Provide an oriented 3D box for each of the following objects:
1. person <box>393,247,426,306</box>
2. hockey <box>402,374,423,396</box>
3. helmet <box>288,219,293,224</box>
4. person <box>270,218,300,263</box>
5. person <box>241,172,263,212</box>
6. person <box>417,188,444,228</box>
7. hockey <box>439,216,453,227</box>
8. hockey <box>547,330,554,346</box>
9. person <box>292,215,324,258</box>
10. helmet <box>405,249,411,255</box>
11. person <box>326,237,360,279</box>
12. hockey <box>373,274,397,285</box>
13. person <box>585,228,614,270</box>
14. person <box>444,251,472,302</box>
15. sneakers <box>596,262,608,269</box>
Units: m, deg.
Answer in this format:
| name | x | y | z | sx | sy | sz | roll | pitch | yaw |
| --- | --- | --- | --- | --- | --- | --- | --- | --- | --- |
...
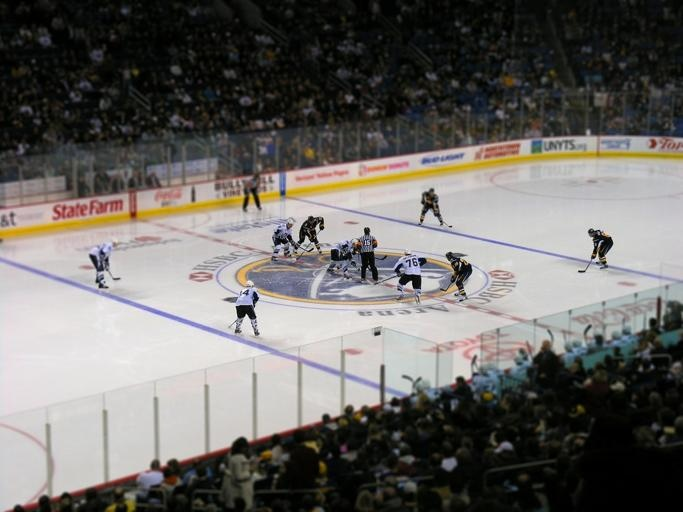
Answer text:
| name | x | y | z | sx | sy | sz | roll | pitch | yaw |
| --- | --- | --- | --- | --- | --- | --- | --- | --- | --- |
| person | 1.775 | 0.520 | 25.006 | 0.751 | 1.288 | 1.204 | -2 | 5 | 3 |
| hockey | 1.334 | 2.379 | 18.299 | 0.347 | 0.327 | 0.264 | 3 | 24 | 7 |
| helmet | -1.383 | -0.911 | 27.222 | 0.152 | 0.179 | 0.177 | -2 | 47 | -2 |
| person | -1.575 | -0.481 | 27.716 | 0.742 | 1.210 | 0.685 | 1 | 20 | -32 |
| person | -3.204 | -2.288 | 35.188 | 0.687 | 1.359 | 1.997 | -3 | 5 | -5 |
| person | 2.943 | -1.563 | 31.967 | 0.822 | 1.188 | 1.758 | -2 | 5 | 5 |
| hockey | 3.363 | -1.097 | 31.867 | 0.356 | 0.100 | 0.348 | -9 | 29 | -45 |
| hockey | 3.860 | 1.498 | 18.105 | 0.090 | 0.324 | 0.077 | 2 | -16 | -44 |
| person | -0.950 | -0.626 | 28.038 | 0.912 | 1.254 | 0.814 | 8 | 31 | 16 |
| helmet | 1.718 | -0.100 | 24.680 | 0.126 | 0.151 | 0.141 | 2 | -4 | -8 |
| person | 0.155 | 0.017 | 26.344 | 0.809 | 0.971 | 0.850 | -8 | 19 | -44 |
| hockey | 1.174 | 0.645 | 26.387 | 0.865 | 0.084 | 0.089 | -18 | 21 | -33 |
| person | 7.219 | -0.138 | 27.549 | 0.771 | 1.182 | 0.600 | 10 | 39 | 30 |
| person | 3.015 | 0.486 | 25.085 | 0.595 | 1.207 | 1.153 | -2 | 5 | 6 |
| sneakers | 7.212 | 0.258 | 27.121 | 0.165 | 0.206 | 0.218 | -1 | 3 | 2 |
